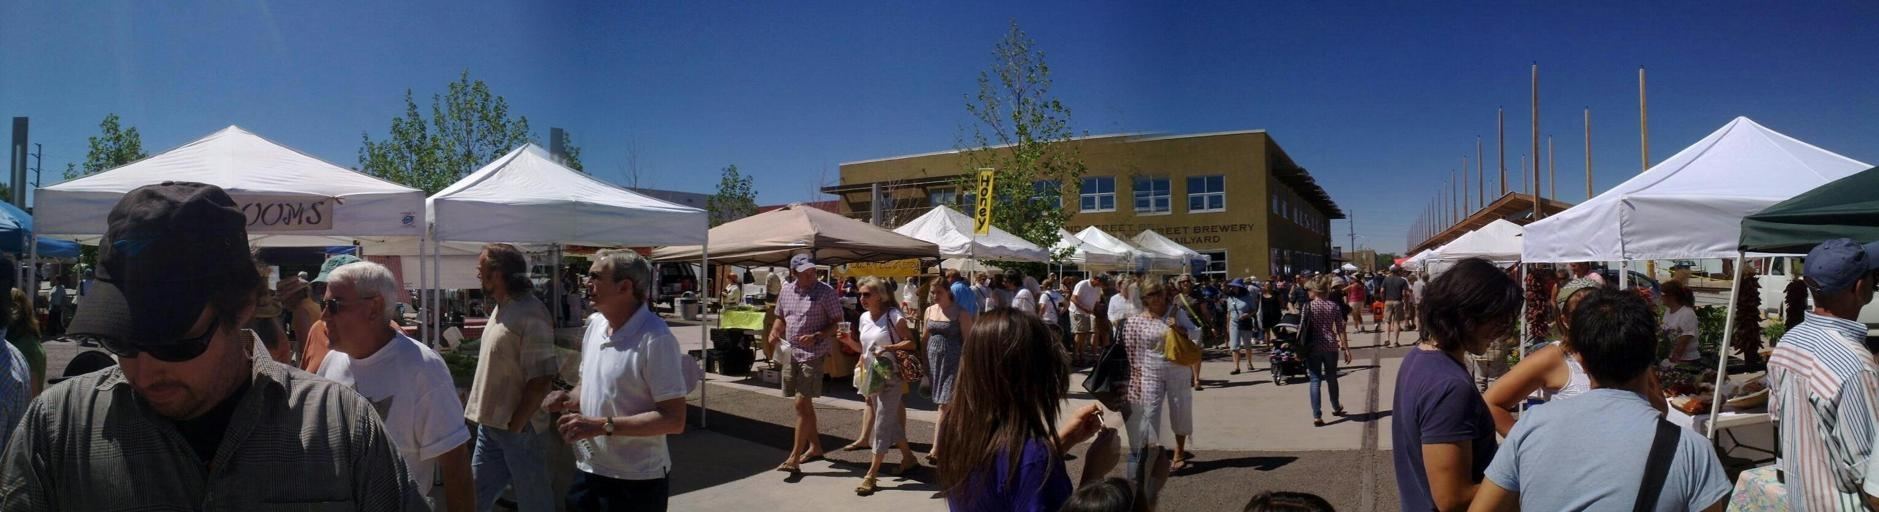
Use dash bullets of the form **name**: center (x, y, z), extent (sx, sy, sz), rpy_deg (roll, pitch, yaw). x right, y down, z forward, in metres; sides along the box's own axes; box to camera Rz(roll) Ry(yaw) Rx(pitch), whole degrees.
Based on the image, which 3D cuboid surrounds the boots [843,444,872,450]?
- **boots**: center (-2.867, 6.541, 35.855), extent (0.791, 0.128, 0.299), rpy_deg (3, -7, 2)

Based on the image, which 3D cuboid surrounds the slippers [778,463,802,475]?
- **slippers**: center (-5.019, 7.119, 35.099), extent (0.778, 0.153, 0.335), rpy_deg (7, -11, -6)

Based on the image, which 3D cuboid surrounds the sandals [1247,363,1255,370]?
- **sandals**: center (12.352, 4.387, 41.762), extent (0.263, 0.165, 0.606), rpy_deg (-5, -12, 20)

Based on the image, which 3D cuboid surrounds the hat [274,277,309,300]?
- **hat**: center (-20.139, 0.988, 32.611), extent (0.922, 0.544, 0.985), rpy_deg (10, -16, -39)

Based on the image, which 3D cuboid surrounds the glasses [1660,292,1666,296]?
- **glasses**: center (24.717, 1.283, 35.931), extent (0.083, 0.181, 0.197), rpy_deg (-5, -6, 40)

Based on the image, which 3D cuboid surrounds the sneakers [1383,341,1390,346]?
- **sneakers**: center (19.406, 3.796, 45.558), extent (0.223, 0.125, 0.434), rpy_deg (2, 2, 9)
